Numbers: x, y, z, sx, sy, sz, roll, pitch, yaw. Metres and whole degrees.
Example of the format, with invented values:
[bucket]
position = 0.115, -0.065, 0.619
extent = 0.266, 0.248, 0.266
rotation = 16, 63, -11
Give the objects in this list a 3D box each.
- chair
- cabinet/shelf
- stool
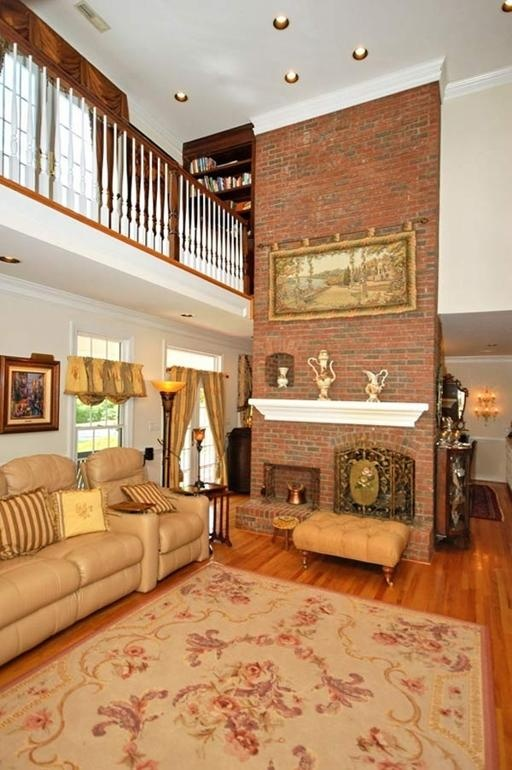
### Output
[chair]
position = -0.999, 1.027, 4.628
extent = 0.995, 0.989, 0.934
rotation = -1, 0, 36
[cabinet/shelf]
position = -0.443, -2.609, 7.347
extent = 0.888, 0.268, 1.512
rotation = -14, -35, -9
[stool]
position = 0.776, 1.274, 4.449
extent = 0.706, 0.227, 0.539
rotation = 4, 8, 25
